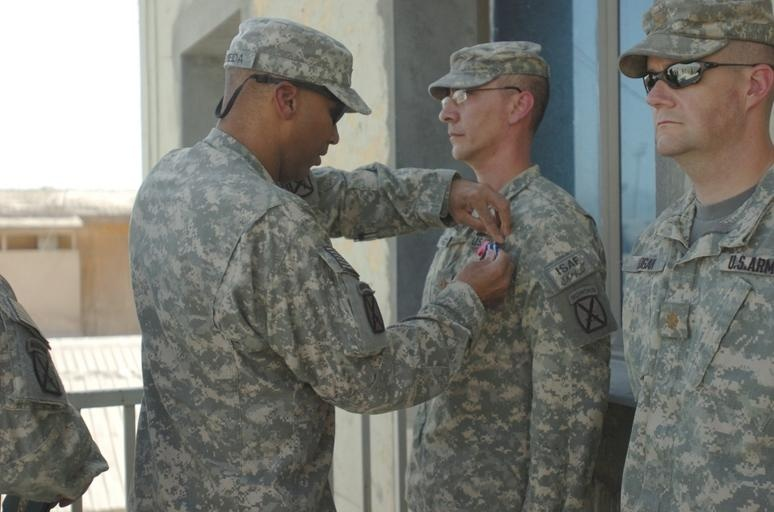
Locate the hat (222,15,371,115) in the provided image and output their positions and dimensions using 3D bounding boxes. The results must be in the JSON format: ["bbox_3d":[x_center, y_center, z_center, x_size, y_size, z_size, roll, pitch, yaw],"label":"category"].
[{"bbox_3d":[-0.541,-1.159,10.046,0.770,0.371,0.524,12,6,-11],"label":"hat"}]

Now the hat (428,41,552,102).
[{"bbox_3d":[0.660,-1.184,10.503,0.510,0.195,0.383,-4,-7,-8],"label":"hat"}]
